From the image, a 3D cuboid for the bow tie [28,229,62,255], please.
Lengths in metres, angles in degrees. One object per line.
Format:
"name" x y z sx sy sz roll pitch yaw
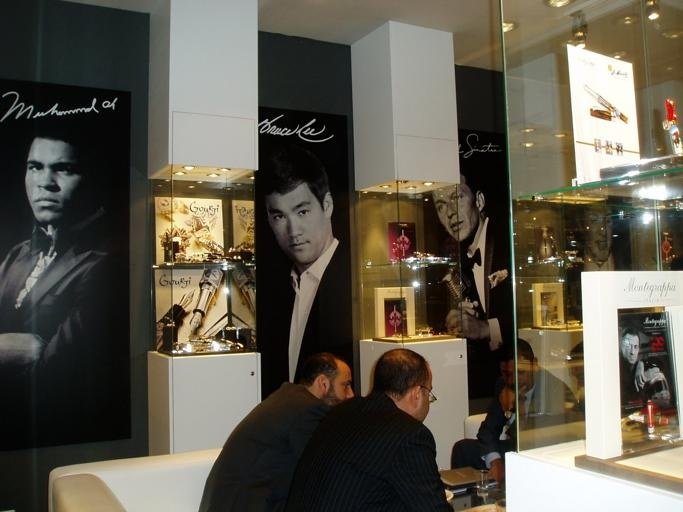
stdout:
"bow tie" -2.231 -0.106 4.288 0.142 0.206 0.069 -11 -8 -39
